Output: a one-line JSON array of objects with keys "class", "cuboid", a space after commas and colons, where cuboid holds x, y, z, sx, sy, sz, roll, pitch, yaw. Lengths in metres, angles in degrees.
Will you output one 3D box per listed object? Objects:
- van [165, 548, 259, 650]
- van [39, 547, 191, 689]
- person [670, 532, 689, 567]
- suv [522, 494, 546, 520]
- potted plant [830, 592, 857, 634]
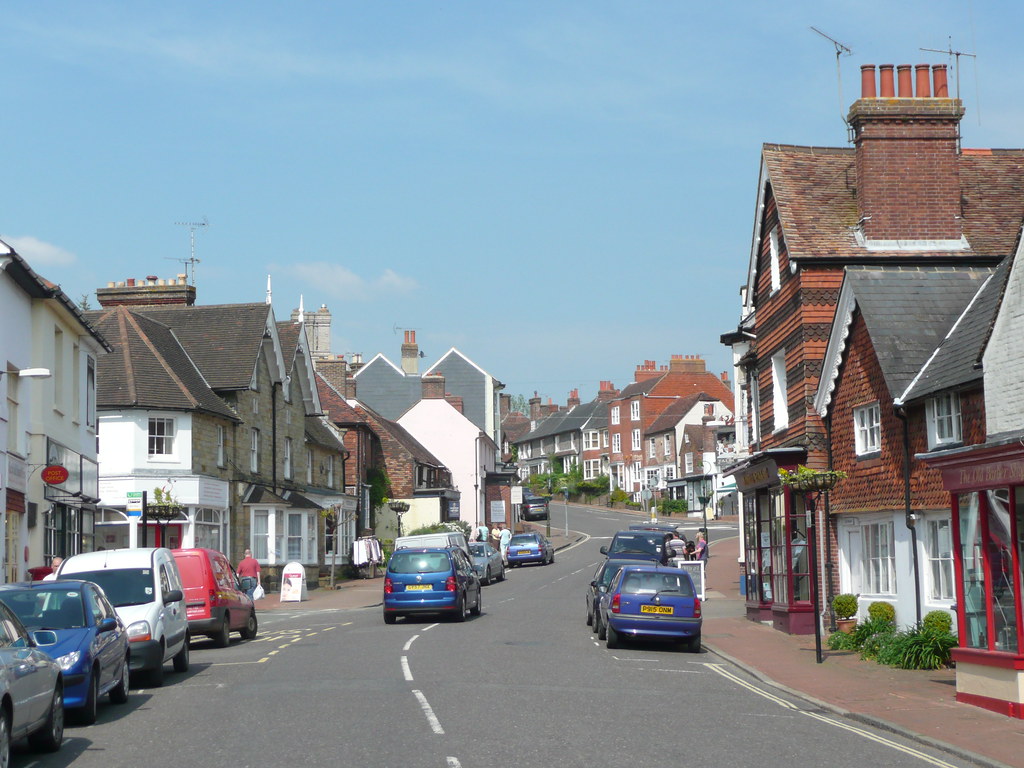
[{"class": "van", "cuboid": [-6.400, 4.554, 34.581, 1.168, 1.190, 2.277, -2, -2, 7]}, {"class": "van", "cuboid": [-7.426, 4.380, 29.554, 2.202, 2.705, 4.787, -4, -5, -5]}, {"class": "person", "cuboid": [5.218, 5.258, 50.050, 0.469, 1.536, 0.521, -1, -43, 1]}, {"class": "suv", "cuboid": [1.457, 8.249, 104.991, 1.072, 1.696, 2.551, 7, -15, -42]}, {"class": "potted plant", "cuboid": [7.243, 5.011, 34.719, 0.704, 1.063, 0.712, 1, -11, -4]}]
